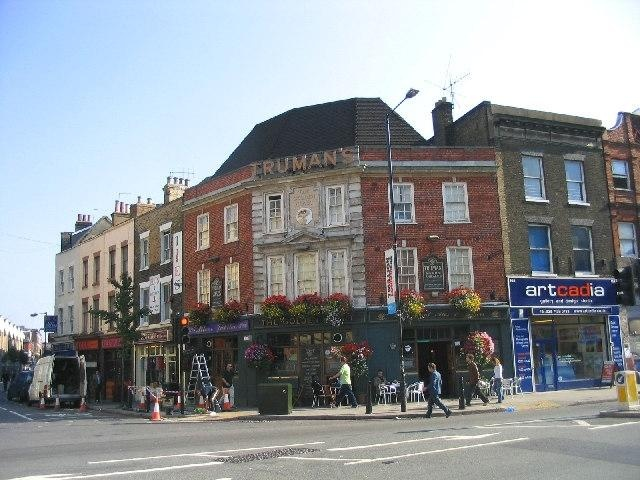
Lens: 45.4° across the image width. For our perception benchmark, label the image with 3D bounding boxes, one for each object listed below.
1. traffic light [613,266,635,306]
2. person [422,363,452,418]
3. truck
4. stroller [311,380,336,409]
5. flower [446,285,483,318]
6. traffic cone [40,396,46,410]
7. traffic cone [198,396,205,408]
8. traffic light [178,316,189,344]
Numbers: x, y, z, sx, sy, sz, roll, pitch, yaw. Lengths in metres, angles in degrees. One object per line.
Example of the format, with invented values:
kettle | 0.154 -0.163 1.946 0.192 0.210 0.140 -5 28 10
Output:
traffic light | 9.980 1.496 25.061 0.583 1.395 0.897 -7 -14 19
person | 4.441 5.833 29.581 1.254 2.511 0.884 -1 -6 17
truck | -15.349 8.276 44.780 3.148 2.771 2.232 -2 -14 -4
stroller | 0.098 7.122 35.297 1.049 1.470 1.090 2 -5 -13
flower | 6.767 2.964 36.397 1.245 1.007 1.468 -27 23 -31
traffic cone | -15.463 9.106 42.745 0.532 0.765 0.549 2 -14 -14
traffic cone | -5.364 7.349 34.709 0.312 0.669 1.100 0 -14 -12
traffic light | -5.820 3.852 32.680 0.347 1.115 0.761 -1 -14 -7
